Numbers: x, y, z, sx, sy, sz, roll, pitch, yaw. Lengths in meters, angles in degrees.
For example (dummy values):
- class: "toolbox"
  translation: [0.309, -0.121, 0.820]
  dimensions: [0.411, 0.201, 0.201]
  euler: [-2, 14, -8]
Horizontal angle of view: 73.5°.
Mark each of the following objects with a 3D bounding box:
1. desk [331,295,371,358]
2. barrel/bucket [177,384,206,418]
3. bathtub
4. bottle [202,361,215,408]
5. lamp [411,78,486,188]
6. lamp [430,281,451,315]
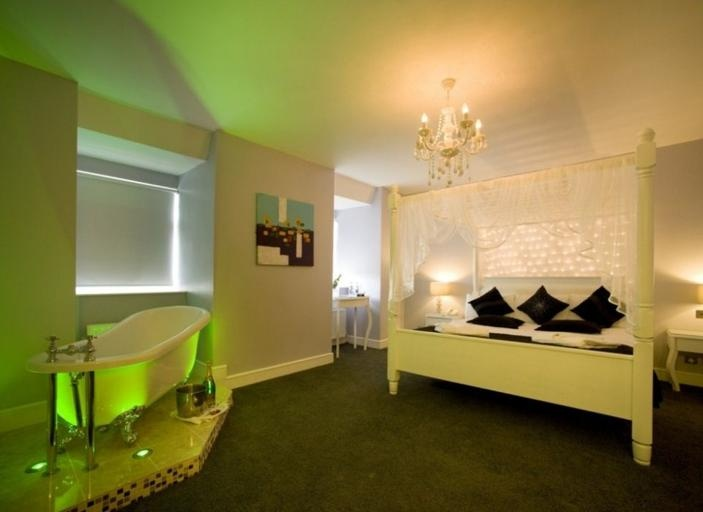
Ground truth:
- class: "desk"
  translation: [-0.036, 0.981, 7.439]
  dimensions: [0.550, 0.754, 0.730]
  euler: [-2, 2, -15]
- class: "barrel/bucket"
  translation: [-1.536, 1.331, 4.393]
  dimensions: [0.242, 0.274, 0.260]
  euler: [1, -7, 0]
- class: "bathtub"
  translation: [-2.097, 0.897, 4.430]
  dimensions: [1.068, 0.598, 1.850]
  euler: [7, 12, 24]
- class: "bottle"
  translation: [-1.370, 1.188, 4.507]
  dimensions: [0.096, 0.460, 0.234]
  euler: [-3, 12, -21]
- class: "lamp"
  translation: [0.988, -1.244, 4.767]
  dimensions: [0.656, 1.059, 0.691]
  euler: [-1, 2, 8]
- class: "lamp"
  translation: [1.423, 0.671, 7.670]
  dimensions: [0.350, 0.550, 0.366]
  euler: [-1, -3, 20]
